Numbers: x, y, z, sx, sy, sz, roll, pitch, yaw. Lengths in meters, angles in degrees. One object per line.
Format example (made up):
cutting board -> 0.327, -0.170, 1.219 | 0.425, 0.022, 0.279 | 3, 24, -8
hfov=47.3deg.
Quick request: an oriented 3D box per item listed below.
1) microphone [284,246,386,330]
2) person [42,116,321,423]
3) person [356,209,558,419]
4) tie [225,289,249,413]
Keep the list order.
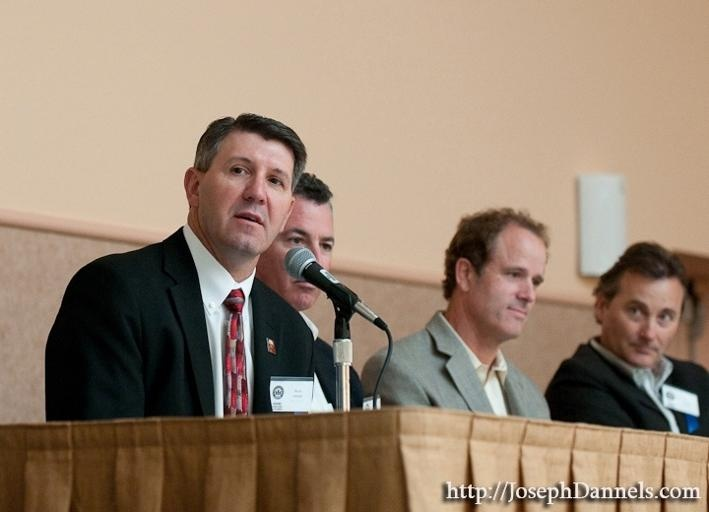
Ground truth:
microphone -> -0.098, 0.155, 3.719 | 0.593, 0.155, 0.142 | 42, 20, 20
person -> -0.526, 0.011, 2.772 | 0.936, 1.092, 0.399 | 10, -17, -41
person -> 0.486, 0.234, 3.589 | 0.897, 0.956, 0.361 | 4, -14, -24
tie -> -0.400, 0.317, 2.737 | 0.103, 0.439, 0.104 | 6, -14, -32
